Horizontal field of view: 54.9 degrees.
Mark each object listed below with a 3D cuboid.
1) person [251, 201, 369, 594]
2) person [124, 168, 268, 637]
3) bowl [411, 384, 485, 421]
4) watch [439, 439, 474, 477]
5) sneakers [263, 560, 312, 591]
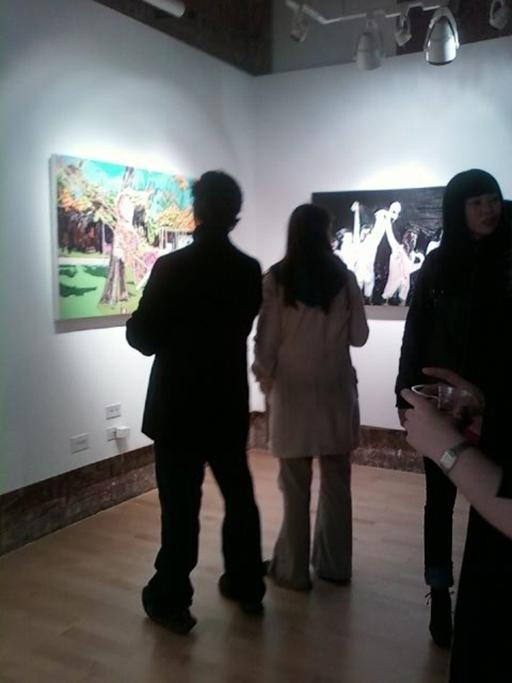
[{"bbox_3d":[0.194,0.232,1.754,0.430,1.095,0.391,-1,0,-21],"label":"person"},{"bbox_3d":[-0.173,0.216,1.463,0.384,1.233,0.354,-1,0,0],"label":"person"},{"bbox_3d":[0.223,0.065,0.554,0.053,0.027,0.046,24,-6,19],"label":"bowl"},{"bbox_3d":[0.195,0.112,0.479,0.031,0.023,0.019,-1,0,24],"label":"watch"},{"bbox_3d":[0.118,0.835,1.828,0.157,0.078,0.135,22,0,14],"label":"sneakers"}]
